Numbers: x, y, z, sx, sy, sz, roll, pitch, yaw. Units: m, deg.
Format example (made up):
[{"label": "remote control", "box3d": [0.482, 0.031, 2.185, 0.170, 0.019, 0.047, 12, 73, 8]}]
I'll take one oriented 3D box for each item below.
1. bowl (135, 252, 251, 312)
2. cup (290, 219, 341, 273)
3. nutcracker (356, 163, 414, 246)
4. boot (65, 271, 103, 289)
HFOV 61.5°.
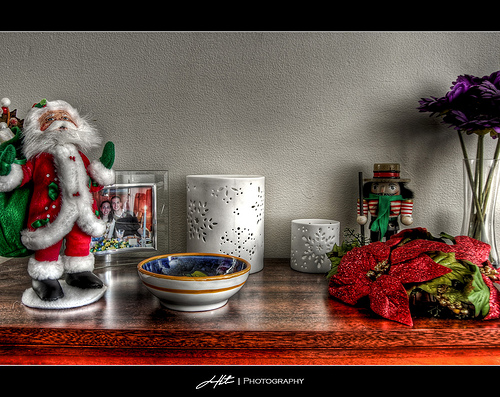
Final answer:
[{"label": "bowl", "box3d": [-0.117, 0.164, 0.858, 0.221, 0.055, 0.195, 6, 8, 22]}, {"label": "cup", "box3d": [0.133, 0.127, 1.112, 0.189, 0.121, 0.161, -2, 0, -3]}, {"label": "nutcracker", "box3d": [0.336, 0.012, 1.097, 0.147, 0.196, 0.135, -1, 10, -20]}, {"label": "boot", "box3d": [-0.351, 0.174, 0.889, 0.080, 0.022, 0.035, -1, 3, 12]}]
